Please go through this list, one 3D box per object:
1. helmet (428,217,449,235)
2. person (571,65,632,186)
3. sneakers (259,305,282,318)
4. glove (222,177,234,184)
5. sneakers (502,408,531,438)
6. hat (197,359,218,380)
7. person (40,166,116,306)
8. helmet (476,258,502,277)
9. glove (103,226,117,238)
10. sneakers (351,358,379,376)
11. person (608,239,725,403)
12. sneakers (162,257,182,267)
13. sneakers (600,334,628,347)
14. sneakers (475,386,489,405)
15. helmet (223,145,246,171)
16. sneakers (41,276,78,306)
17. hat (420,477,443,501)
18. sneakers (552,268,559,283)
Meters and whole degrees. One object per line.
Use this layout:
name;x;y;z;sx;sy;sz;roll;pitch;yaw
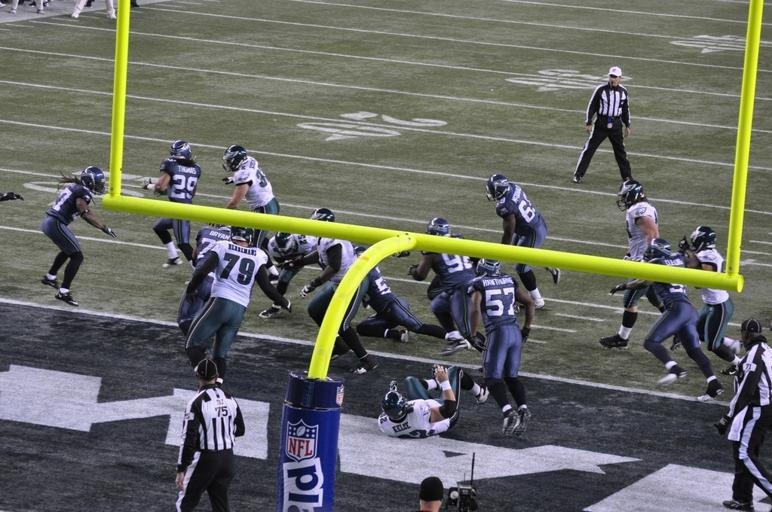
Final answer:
helmet;0.803;-0.420;24.337;0.363;0.200;0.250;-2;11;0
person;4.287;-2.482;30.970;1.146;2.270;1.585;6;12;6
sneakers;-1.907;0.900;25.328;0.492;0.162;0.138;-5;37;-3
glove;-2.631;-1.223;26.781;0.194;0.070;0.223;2;7;4
sneakers;1.864;2.363;22.565;0.302;0.436;0.256;21;0;-19
hat;-2.329;1.502;20.978;0.265;0.158;0.305;2;16;-10
person;-4.969;-0.308;25.464;0.973;2.097;1.213;6;12;8
helmet;1.484;0.200;23.380;0.286;0.233;0.316;7;-5;-25
glove;-4.483;-0.372;25.878;0.194;0.117;0.399;-8;-15;12
sneakers;-0.307;1.679;23.901;0.494;0.167;0.165;-10;10;-28
person;4.366;0.953;23.869;0.951;2.253;1.599;-2;13;-27
sneakers;-3.545;0.145;26.752;0.345;0.095;0.137;-11;-20;13
sneakers;3.519;1.351;24.843;0.499;0.191;0.155;5;41;-2
sneakers;1.407;2.051;23.297;0.145;0.127;0.332;0;18;23
helmet;-2.463;-1.567;26.269;0.354;0.410;0.207;3;12;-4
sneakers;-5.169;0.590;25.340;0.641;0.247;0.181;30;24;1
hat;0.541;2.849;19.509;0.339;0.191;0.305;-1;3;39
sneakers;2.810;0.359;26.649;0.102;0.218;0.122;3;-7;36
